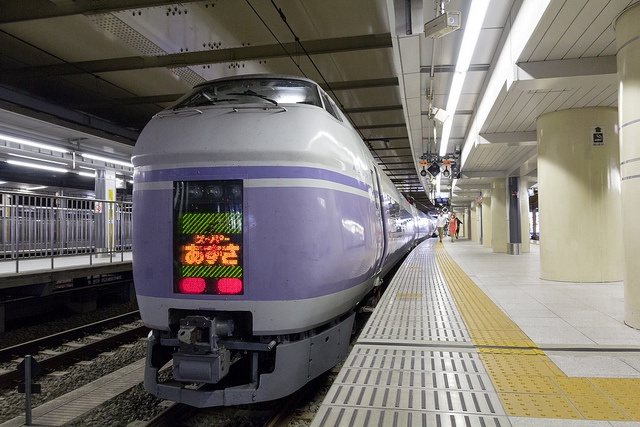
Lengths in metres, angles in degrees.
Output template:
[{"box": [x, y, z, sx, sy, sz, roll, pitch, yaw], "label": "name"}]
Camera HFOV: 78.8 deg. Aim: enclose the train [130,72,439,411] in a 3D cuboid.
[{"box": [-0.847, 0.111, 4.638, 2.748, 3.858, 0.856, -3, -3, -2], "label": "train"}]
